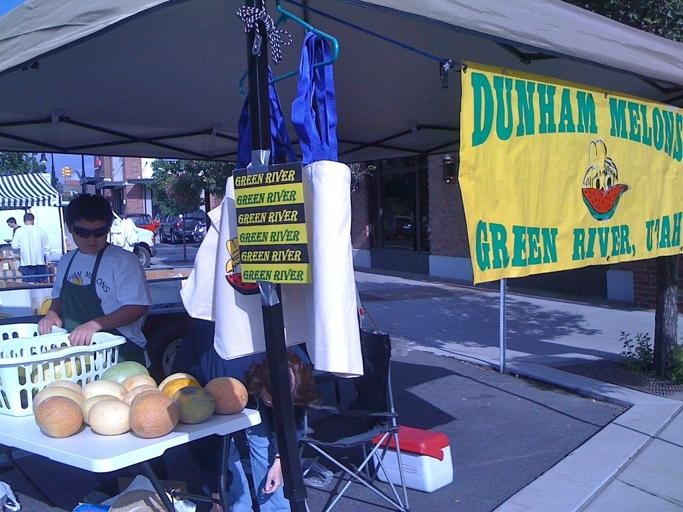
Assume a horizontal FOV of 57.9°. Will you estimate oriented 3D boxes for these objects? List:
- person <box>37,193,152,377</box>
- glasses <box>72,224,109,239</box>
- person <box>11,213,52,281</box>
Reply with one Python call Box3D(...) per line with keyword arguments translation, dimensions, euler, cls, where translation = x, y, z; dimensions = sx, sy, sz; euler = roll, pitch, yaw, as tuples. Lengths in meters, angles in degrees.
Box3D(translation=(-1.820, 0.188, 4.654), dimensions=(0.728, 1.613, 0.665), euler=(-3, 7, -42), cls="person")
Box3D(translation=(-1.911, -0.192, 4.711), dimensions=(0.269, 0.102, 0.152), euler=(-5, 8, -24), cls="glasses")
Box3D(translation=(-6.875, -0.176, 13.618), dimensions=(0.753, 1.990, 0.887), euler=(-1, 9, -31), cls="person")
